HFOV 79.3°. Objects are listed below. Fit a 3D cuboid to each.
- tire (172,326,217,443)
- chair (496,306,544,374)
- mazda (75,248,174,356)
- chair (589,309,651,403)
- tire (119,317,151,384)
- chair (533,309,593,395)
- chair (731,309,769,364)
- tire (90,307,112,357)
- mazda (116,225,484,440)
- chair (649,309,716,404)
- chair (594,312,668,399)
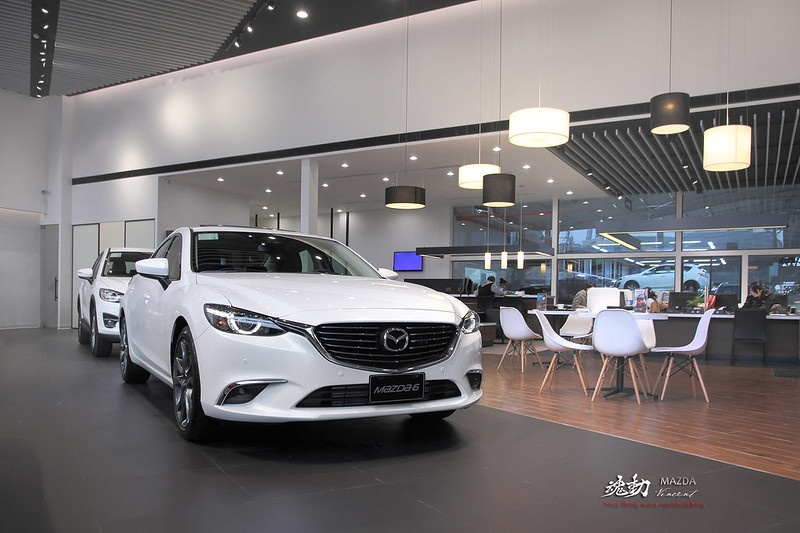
[{"bbox_3d":[-1.674,0.969,3.976,0.211,0.707,0.714,7,-42,-24],"label":"tire"},{"bbox_3d":[2.067,1.237,8.343,0.636,1.063,0.791,-2,-4,37],"label":"chair"},{"bbox_3d":[-5.702,0.636,9.386,1.790,1.584,3.557,1,-4,-25],"label":"mazda"},{"bbox_3d":[3.109,1.183,6.809,0.692,1.213,2.028,1,-2,26],"label":"chair"},{"bbox_3d":[-3.057,0.967,5.598,0.278,0.899,0.861,8,-1,-23],"label":"tire"},{"bbox_3d":[2.355,1.213,6.978,0.810,1.116,0.764,-3,-7,26],"label":"chair"},{"bbox_3d":[7.317,1.487,10.142,0.785,1.126,0.822,0,0,8],"label":"chair"},{"bbox_3d":[-5.071,1.112,8.240,0.279,0.907,0.868,7,-4,-27],"label":"tire"},{"bbox_3d":[-1.401,0.576,4.914,1.713,1.239,3.549,5,-8,-33],"label":"mazda"},{"bbox_3d":[3.789,1.175,6.499,0.768,1.160,0.663,-1,-5,19],"label":"chair"},{"bbox_3d":[2.868,1.099,6.278,0.701,1.197,0.823,-3,4,29],"label":"chair"}]
